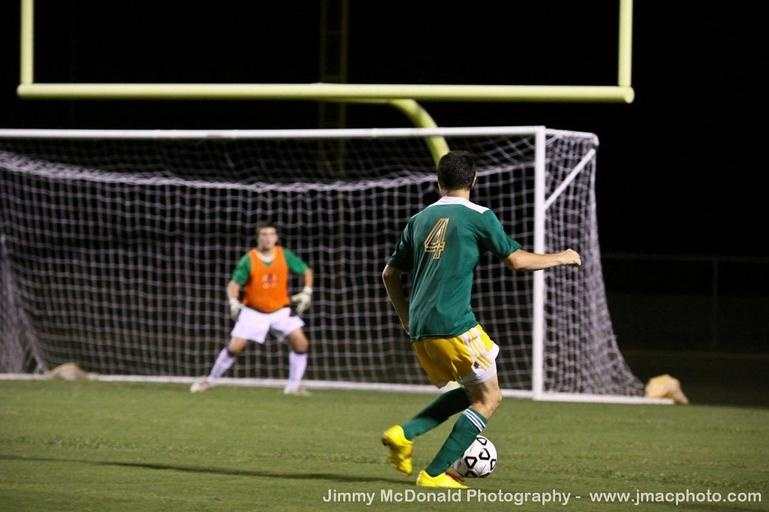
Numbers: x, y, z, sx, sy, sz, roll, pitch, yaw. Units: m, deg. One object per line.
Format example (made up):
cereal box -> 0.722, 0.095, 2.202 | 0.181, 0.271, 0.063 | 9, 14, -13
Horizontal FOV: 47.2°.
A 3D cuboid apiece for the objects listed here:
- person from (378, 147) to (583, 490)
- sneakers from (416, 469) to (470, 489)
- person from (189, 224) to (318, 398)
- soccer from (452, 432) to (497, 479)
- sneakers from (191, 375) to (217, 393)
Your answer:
person -> 0.625, 0.537, 7.320 | 1.131, 2.815, 0.348 | 4, -3, 0
sneakers -> 0.494, 1.855, 7.316 | 0.446, 0.137, 0.151 | 1, -7, -7
person -> -1.391, 0.593, 9.929 | 1.166, 1.919, 0.430 | 4, -3, -7
soccer -> 0.735, 1.648, 7.458 | 0.283, 0.275, 0.266 | 1, -2, -17
sneakers -> -2.030, 1.446, 9.926 | 0.300, 0.145, 0.110 | -21, -13, -15
